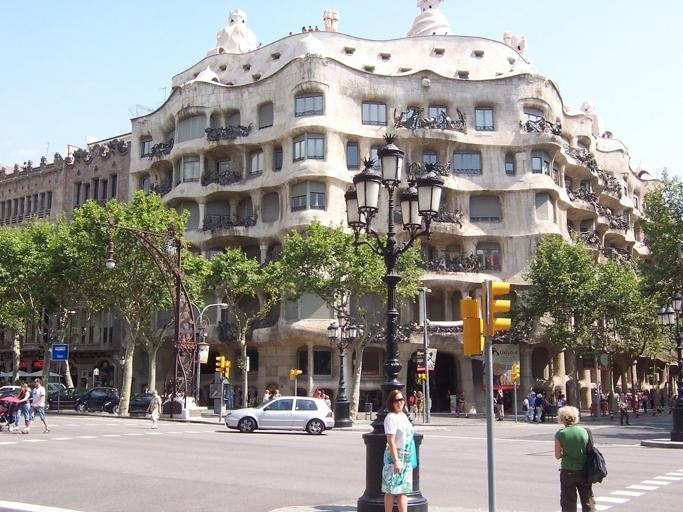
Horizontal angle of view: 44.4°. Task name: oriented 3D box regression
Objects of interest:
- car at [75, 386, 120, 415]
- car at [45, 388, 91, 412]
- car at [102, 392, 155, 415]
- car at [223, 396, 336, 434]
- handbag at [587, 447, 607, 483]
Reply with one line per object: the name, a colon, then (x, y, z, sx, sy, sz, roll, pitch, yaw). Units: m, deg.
car: (-16.316, 9.769, 56.261, 2.564, 1.460, 1.552, 3, -11, 6)
car: (-18.900, 9.814, 57.048, 2.405, 1.278, 1.390, 3, -13, 1)
car: (-13.988, 9.597, 54.062, 3.829, 1.392, 1.725, 2, -10, 5)
car: (-3.133, 7.537, 40.688, 5.340, 1.831, 2.490, 5, 3, -16)
handbag: (6.306, 5.171, 20.707, 0.440, 0.857, 0.525, -4, -13, 18)
